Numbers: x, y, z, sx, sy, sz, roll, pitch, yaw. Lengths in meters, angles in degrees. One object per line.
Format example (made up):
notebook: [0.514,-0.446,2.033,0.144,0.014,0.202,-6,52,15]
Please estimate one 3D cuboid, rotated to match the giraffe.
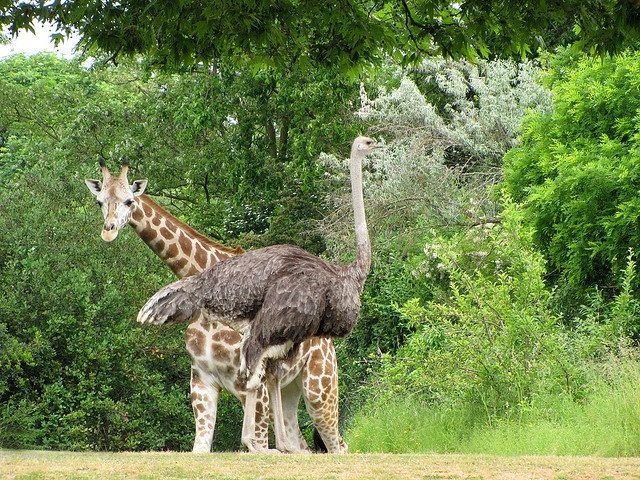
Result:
giraffe: [-1.397,0.922,10.870,3.416,4.159,1.169,1,-13,-15]
